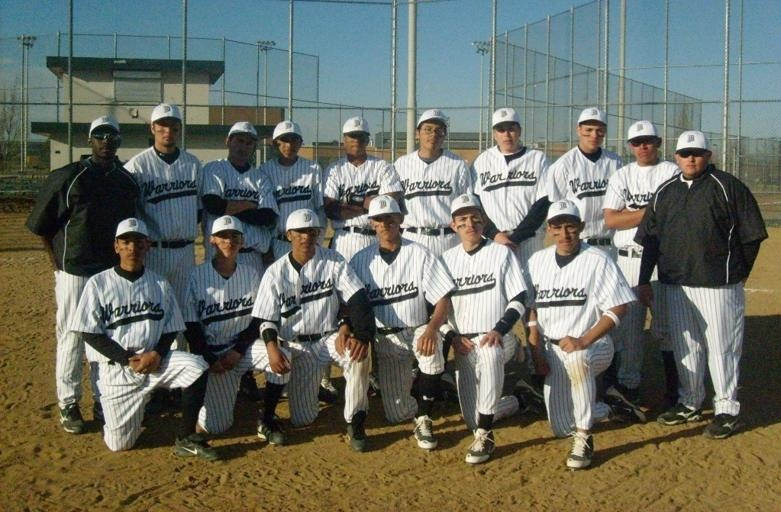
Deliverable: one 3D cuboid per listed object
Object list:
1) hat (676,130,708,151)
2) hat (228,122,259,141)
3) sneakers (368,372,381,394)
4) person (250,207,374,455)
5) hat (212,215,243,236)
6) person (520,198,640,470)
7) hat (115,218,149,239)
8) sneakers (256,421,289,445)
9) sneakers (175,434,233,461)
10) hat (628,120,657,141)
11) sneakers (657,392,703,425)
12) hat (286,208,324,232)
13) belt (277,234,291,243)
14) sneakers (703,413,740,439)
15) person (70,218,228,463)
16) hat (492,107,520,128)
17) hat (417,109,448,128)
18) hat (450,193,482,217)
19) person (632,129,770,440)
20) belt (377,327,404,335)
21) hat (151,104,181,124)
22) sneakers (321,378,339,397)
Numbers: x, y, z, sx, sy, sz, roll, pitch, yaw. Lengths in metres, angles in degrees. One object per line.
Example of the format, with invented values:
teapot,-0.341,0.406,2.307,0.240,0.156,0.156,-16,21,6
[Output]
hat,3.666,-1.384,11.256,0.367,0.252,0.294,5,11,18
hat,-1.957,-1.657,12.283,0.344,0.212,0.298,-3,11,-24
sneakers,-0.243,1.709,12.404,0.109,0.124,0.315,5,38,-49
person,-0.914,0.842,11.137,1.418,2.732,0.871,1,10,-2
hat,-1.961,-0.327,11.349,0.301,0.263,0.429,5,-6,-8
person,2.153,0.842,11.078,1.142,2.947,0.990,10,13,41
hat,-3.046,-0.358,11.010,0.327,0.248,0.540,-2,8,-3
sneakers,-1.436,2.117,11.123,0.323,0.239,0.278,-1,11,-12
sneakers,-2.202,2.231,10.915,0.620,0.280,0.251,5,0,9
hat,3.309,-1.651,12.056,0.241,0.207,0.352,-8,-4,36
sneakers,3.545,1.935,11.446,0.523,0.260,0.244,-2,-4,-10
hat,-1.056,-0.419,11.187,0.378,0.277,0.244,0,10,-10
belt,-1.444,-0.229,12.371,0.095,0.053,0.132,12,-2,5
sneakers,3.983,2.031,11.122,0.465,0.274,0.182,-1,11,-15
person,-2.929,0.935,10.923,1.527,2.664,0.687,3,10,9
hat,1.529,-1.870,12.534,0.348,0.264,0.579,2,-2,5
hat,0.553,-1.794,12.193,0.400,0.272,0.853,2,10,2
hat,0.918,-0.608,11.273,0.342,0.262,0.274,2,10,4
person,3.733,0.314,11.214,1.359,3.563,0.668,5,11,22
belt,-0.027,0.920,11.372,0.183,0.063,0.137,-3,0,-19
hat,-2.864,-1.807,11.821,0.330,0.238,0.300,0,10,-9
sneakers,-0.812,1.748,12.306,0.114,0.250,0.352,-6,-18,-9
